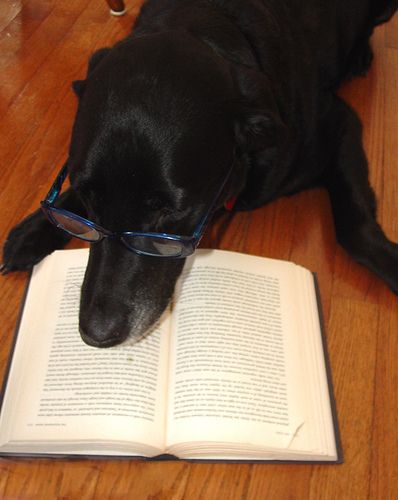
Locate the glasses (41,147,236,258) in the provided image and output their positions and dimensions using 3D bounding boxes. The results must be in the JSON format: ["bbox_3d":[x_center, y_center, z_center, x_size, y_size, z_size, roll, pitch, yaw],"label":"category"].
[{"bbox_3d":[-0.143,-0.082,1.014,0.392,0.150,0.227,9,57,6],"label":"glasses"}]
